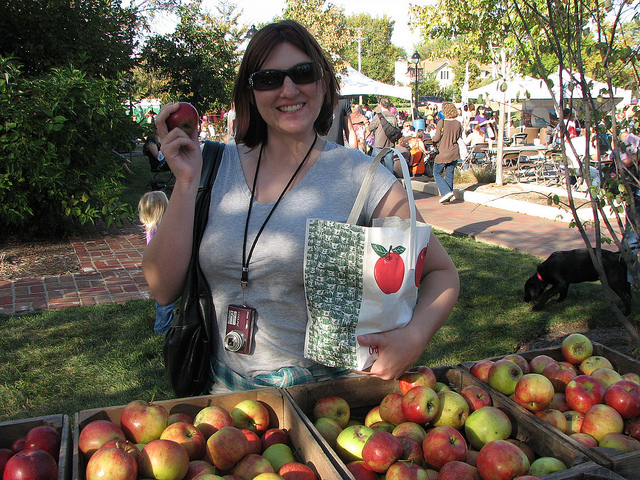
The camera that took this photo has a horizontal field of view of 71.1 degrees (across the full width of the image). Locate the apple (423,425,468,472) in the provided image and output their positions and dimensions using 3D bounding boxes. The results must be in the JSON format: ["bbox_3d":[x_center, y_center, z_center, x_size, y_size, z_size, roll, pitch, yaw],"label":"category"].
[{"bbox_3d":[0.516,0.852,1.921,0.152,0.184,0.148,-12,40,-40],"label":"apple"}]

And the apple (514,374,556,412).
[{"bbox_3d":[1.083,0.778,2.245,0.167,0.182,0.209,-3,46,31],"label":"apple"}]

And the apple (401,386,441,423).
[{"bbox_3d":[0.455,0.757,2.098,0.140,0.157,0.174,0,-22,-16],"label":"apple"}]

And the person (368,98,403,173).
[{"bbox_3d":[1.706,-2.655,11.758,0.831,2.221,0.719,2,37,5],"label":"person"}]

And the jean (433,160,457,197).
[{"bbox_3d":[3.414,-1.667,12.298,0.559,0.898,0.918,2,7,23],"label":"jean"}]

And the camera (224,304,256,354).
[{"bbox_3d":[-0.367,0.405,2.026,0.129,0.217,0.060,3,2,19],"label":"camera"}]

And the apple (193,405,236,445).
[{"bbox_3d":[-0.459,0.761,1.891,0.122,0.129,0.130,-1,50,27],"label":"apple"}]

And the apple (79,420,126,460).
[{"bbox_3d":[-0.852,0.754,1.765,0.129,0.148,0.164,12,-20,-15],"label":"apple"}]

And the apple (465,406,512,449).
[{"bbox_3d":[0.776,0.854,2.072,0.154,0.174,0.160,7,9,6],"label":"apple"}]

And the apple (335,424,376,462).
[{"bbox_3d":[0.150,0.873,1.934,0.123,0.165,0.140,3,37,-7],"label":"apple"}]

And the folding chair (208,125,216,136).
[{"bbox_3d":[-7.289,-7.297,29.728,0.326,0.693,1.070,-2,7,-10],"label":"folding chair"}]

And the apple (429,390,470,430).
[{"bbox_3d":[0.633,0.775,2.158,0.182,0.173,0.161,15,-10,30],"label":"apple"}]

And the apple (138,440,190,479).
[{"bbox_3d":[-0.586,0.794,1.706,0.139,0.155,0.145,12,-7,0],"label":"apple"}]

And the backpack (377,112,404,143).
[{"bbox_3d":[1.741,-2.835,11.135,0.233,0.663,0.504,-38,2,0],"label":"backpack"}]

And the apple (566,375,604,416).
[{"bbox_3d":[1.374,0.788,2.336,0.148,0.165,0.162,10,29,19],"label":"apple"}]

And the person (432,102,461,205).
[{"bbox_3d":[3.350,-2.337,12.031,0.702,2.700,0.824,5,12,34],"label":"person"}]

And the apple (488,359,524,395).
[{"bbox_3d":[1.004,0.699,2.427,0.152,0.205,0.156,5,14,-37],"label":"apple"}]

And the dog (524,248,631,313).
[{"bbox_3d":[3.568,0.482,5.941,1.581,0.825,1.053,-4,7,-25],"label":"dog"}]

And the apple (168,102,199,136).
[{"bbox_3d":[-0.646,-0.557,2.079,0.103,0.111,0.136,-19,42,17],"label":"apple"}]

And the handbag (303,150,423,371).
[{"bbox_3d":[0.192,0.076,2.023,0.542,1.033,0.389,-1,9,-34],"label":"handbag"}]

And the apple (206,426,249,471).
[{"bbox_3d":[-0.369,0.821,1.839,0.144,0.156,0.152,38,10,23],"label":"apple"}]

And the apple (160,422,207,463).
[{"bbox_3d":[-0.530,0.791,1.799,0.137,0.186,0.148,7,-1,5],"label":"apple"}]

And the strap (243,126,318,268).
[{"bbox_3d":[-0.220,-0.188,2.036,0.309,0.613,0.263,-10,20,-41],"label":"strap"}]
